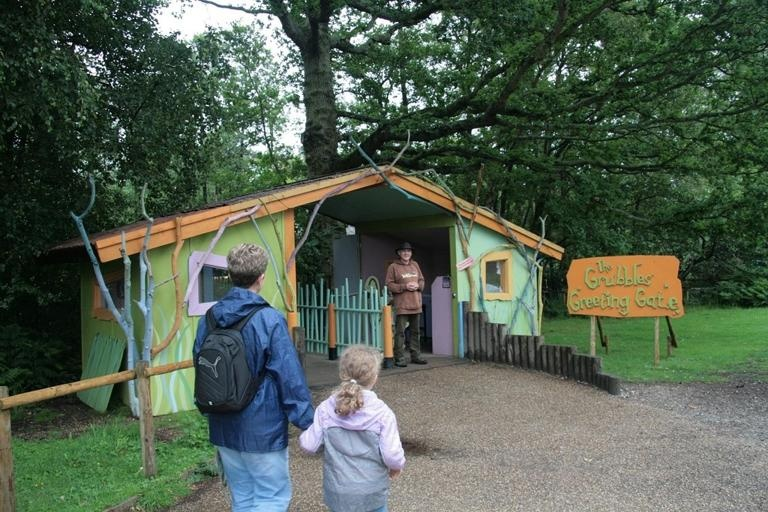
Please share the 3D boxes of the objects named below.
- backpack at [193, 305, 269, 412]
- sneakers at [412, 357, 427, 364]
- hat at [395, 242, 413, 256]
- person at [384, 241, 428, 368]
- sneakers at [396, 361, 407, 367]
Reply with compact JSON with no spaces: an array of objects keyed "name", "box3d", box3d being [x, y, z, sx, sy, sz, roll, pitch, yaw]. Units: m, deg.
[{"name":"backpack","box3d":[-1.830,1.214,8.002,0.848,1.214,0.468,-2,12,-9]},{"name":"sneakers","box3d":[0.745,2.261,14.615,0.363,0.167,0.126,-4,-4,17]},{"name":"hat","box3d":[0.438,-0.168,15.362,0.356,0.163,0.415,2,-4,1]},{"name":"person","box3d":[0.482,1.085,14.463,0.860,2.651,0.822,-7,13,-27]},{"name":"sneakers","box3d":[0.369,2.268,14.261,0.089,0.100,0.240,7,-15,-39]}]
